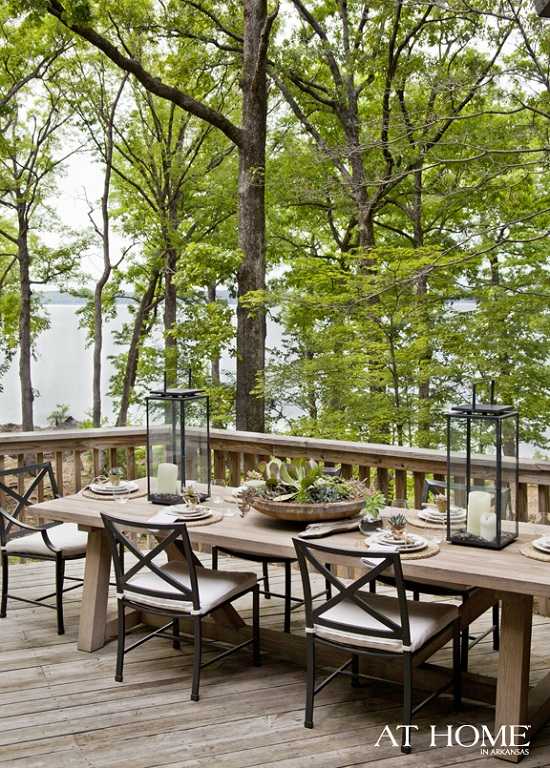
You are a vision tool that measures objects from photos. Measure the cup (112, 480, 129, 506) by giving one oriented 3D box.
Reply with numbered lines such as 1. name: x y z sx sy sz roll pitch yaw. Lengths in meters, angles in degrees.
1. cup: -0.737 0.540 3.666 0.103 0.097 0.092 -1 1 -7
